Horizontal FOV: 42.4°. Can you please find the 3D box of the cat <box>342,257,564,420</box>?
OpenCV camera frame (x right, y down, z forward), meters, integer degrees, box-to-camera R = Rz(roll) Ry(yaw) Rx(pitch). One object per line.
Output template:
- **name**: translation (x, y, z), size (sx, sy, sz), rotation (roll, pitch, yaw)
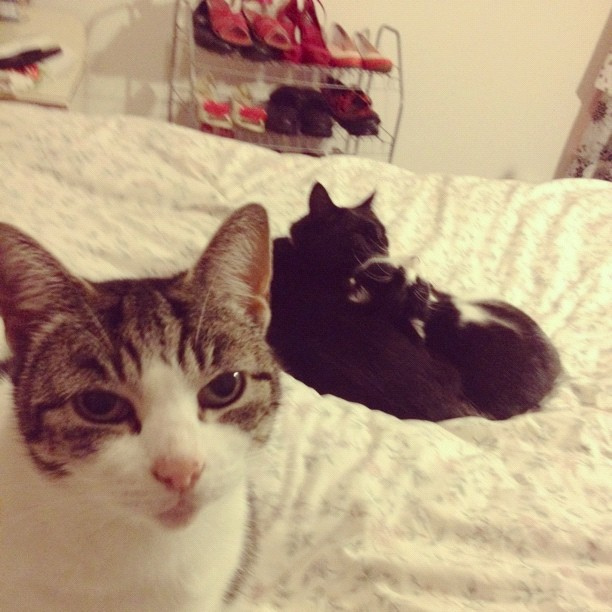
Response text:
- **cat**: translation (0.247, 0.051, 1.354), size (0.384, 0.183, 0.210), rotation (15, 39, 5)
